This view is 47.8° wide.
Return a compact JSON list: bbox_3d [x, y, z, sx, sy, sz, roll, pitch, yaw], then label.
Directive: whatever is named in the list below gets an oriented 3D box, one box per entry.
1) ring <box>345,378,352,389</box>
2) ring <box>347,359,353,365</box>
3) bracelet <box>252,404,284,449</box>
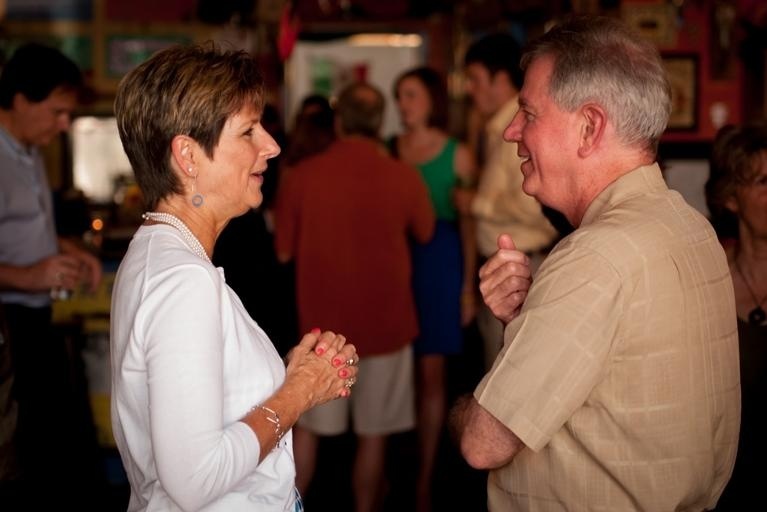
[{"bbox_3d":[-0.136,0.490,3.295,0.042,0.023,0.056,0,5,-1],"label":"ring"},{"bbox_3d":[-0.129,0.398,3.248,0.024,0.013,0.034,0,4,-4],"label":"ring"},{"bbox_3d":[-0.394,0.598,3.031,0.032,0.140,0.107,-34,-18,25],"label":"bracelet"}]
